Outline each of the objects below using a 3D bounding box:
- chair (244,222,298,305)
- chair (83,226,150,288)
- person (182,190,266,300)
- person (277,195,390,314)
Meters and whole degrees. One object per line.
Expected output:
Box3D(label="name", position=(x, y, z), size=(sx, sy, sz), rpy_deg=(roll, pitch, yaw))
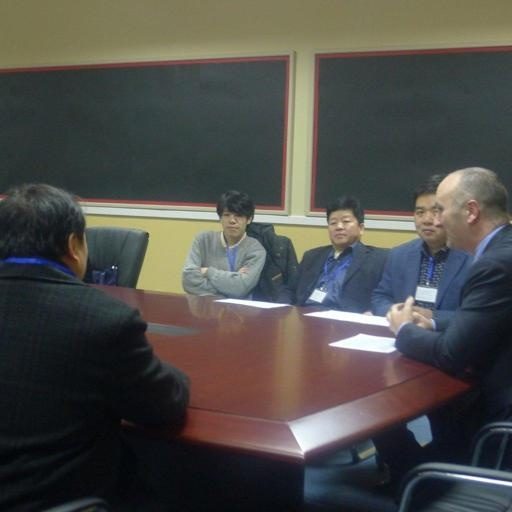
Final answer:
Box3D(label="chair", position=(0.133, 0.062, 3.682), size=(0.392, 0.536, 0.213), rpy_deg=(1, -18, -18))
Box3D(label="chair", position=(-0.879, 0.030, 3.251), size=(0.323, 0.509, 0.414), rpy_deg=(3, -6, 5))
Box3D(label="person", position=(-0.228, -0.042, 3.503), size=(0.567, 0.894, 0.504), rpy_deg=(5, 0, 4))
Box3D(label="person", position=(0.554, 0.011, 3.231), size=(0.796, 0.798, 0.445), rpy_deg=(5, -3, 40))
